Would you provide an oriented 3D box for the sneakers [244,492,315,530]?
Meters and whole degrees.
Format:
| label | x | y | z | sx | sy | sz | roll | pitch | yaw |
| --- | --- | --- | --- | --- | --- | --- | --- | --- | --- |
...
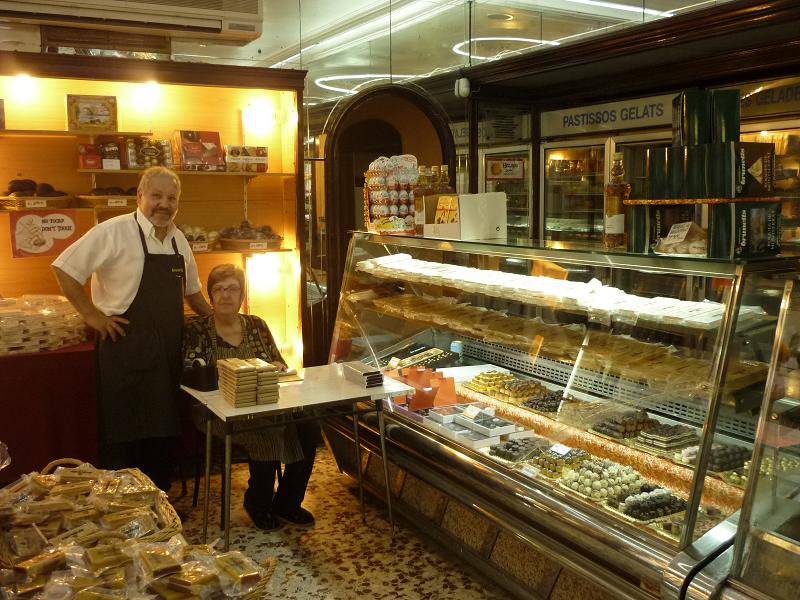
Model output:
| label | x | y | z | sx | sy | sz | roll | pitch | yaw |
| --- | --- | --- | --- | --- | --- | --- | --- | --- | --- |
| sneakers | -0.815 | 1.432 | 3.926 | 0.512 | 0.167 | 0.167 | -1 | 1 | 24 |

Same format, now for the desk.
| label | x | y | z | sx | sy | sz | roll | pitch | yaw |
| --- | --- | --- | --- | --- | --- | --- | --- | --- | --- |
| desk | -0.697 | 1.097 | 3.857 | 1.623 | 0.985 | 1.213 | -4 | 5 | -34 |

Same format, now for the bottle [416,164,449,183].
| label | x | y | z | sx | sy | sz | roll | pitch | yaw |
| --- | --- | --- | --- | --- | --- | --- | --- | --- | --- |
| bottle | 0.212 | -0.871 | 4.134 | 0.247 | 0.124 | 0.224 | 1 | 10 | 0 |

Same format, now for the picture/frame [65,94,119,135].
| label | x | y | z | sx | sy | sz | roll | pitch | yaw |
| --- | --- | --- | --- | --- | --- | --- | --- | --- | --- |
| picture/frame | -2.381 | -1.431 | 4.503 | 0.447 | 0.309 | 0.133 | 0 | -1 | -24 |
